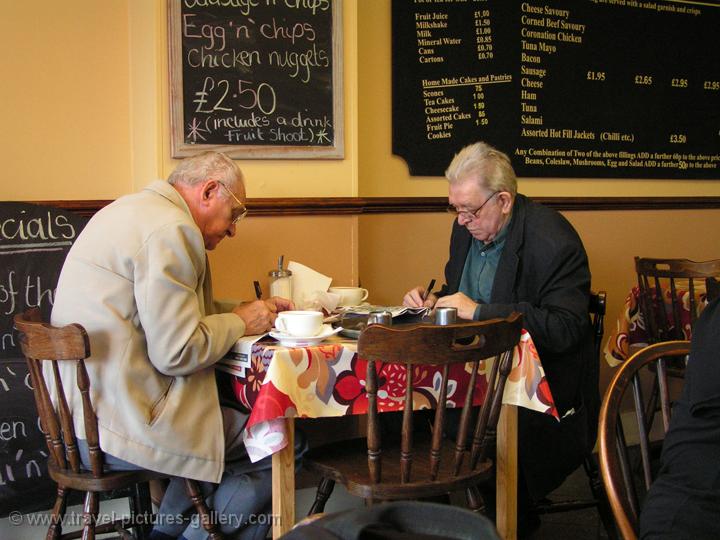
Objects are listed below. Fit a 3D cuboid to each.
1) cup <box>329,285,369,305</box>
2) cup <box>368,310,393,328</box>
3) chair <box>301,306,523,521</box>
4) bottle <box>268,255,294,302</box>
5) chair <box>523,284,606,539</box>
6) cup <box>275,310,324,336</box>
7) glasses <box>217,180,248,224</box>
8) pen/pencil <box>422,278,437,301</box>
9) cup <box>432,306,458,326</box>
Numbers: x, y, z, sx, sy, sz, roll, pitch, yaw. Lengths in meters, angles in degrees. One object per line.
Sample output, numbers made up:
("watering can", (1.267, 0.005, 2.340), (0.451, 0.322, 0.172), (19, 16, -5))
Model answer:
("cup", (-0.039, 0.111, 2.699), (0.105, 0.050, 0.086), (3, -6, -26))
("cup", (0.064, 0.159, 2.111), (0.051, 0.050, 0.052), (3, 2, 0))
("chair", (0.160, 0.604, 2.273), (0.591, 0.933, 0.634), (-2, 6, -27))
("bottle", (-0.341, 0.055, 2.766), (0.084, 0.229, 0.085), (-1, 2, 0))
("chair", (0.864, 0.646, 2.732), (0.375, 1.146, 0.482), (2, 7, 15))
("cup", (-0.184, 0.162, 2.113), (0.088, 0.051, 0.108), (3, 5, 40))
("glasses", (-0.458, -0.253, 2.383), (0.117, 0.035, 0.112), (39, 3, 5))
("pen/pencil", (0.329, 0.094, 3.133), (0.026, 0.106, 0.024), (22, 28, -14))
("cup", (0.276, 0.144, 2.062), (0.059, 0.046, 0.061), (1, 2, 0))
